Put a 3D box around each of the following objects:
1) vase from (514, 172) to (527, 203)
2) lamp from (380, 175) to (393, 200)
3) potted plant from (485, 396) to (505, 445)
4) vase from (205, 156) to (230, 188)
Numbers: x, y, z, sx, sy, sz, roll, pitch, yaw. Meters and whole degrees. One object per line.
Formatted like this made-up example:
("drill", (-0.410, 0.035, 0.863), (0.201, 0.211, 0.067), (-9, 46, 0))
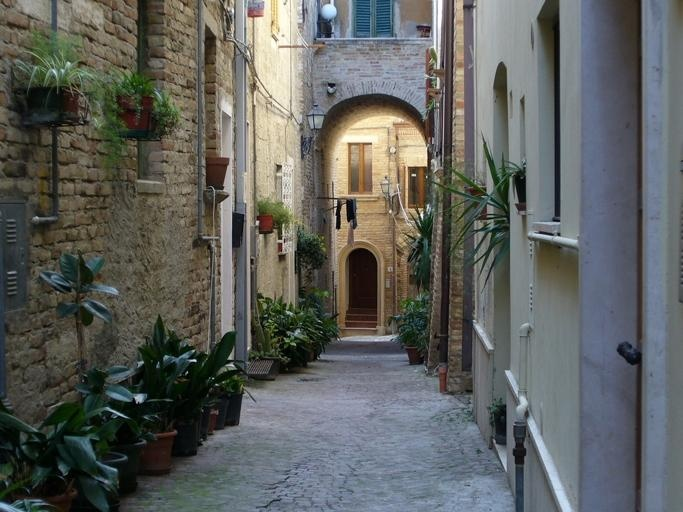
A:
("vase", (1.381, -0.532, 5.030), (0.068, 0.239, 0.206), (-1, 0, 3))
("lamp", (1.878, -2.814, 26.879), (0.581, 0.728, 1.712), (-4, 20, 7))
("potted plant", (1.576, 1.658, 6.507), (0.157, 0.459, 0.336), (-1, 0, 13))
("vase", (-1.588, -1.059, 8.403), (0.310, 0.435, 0.353), (3, -1, -5))
